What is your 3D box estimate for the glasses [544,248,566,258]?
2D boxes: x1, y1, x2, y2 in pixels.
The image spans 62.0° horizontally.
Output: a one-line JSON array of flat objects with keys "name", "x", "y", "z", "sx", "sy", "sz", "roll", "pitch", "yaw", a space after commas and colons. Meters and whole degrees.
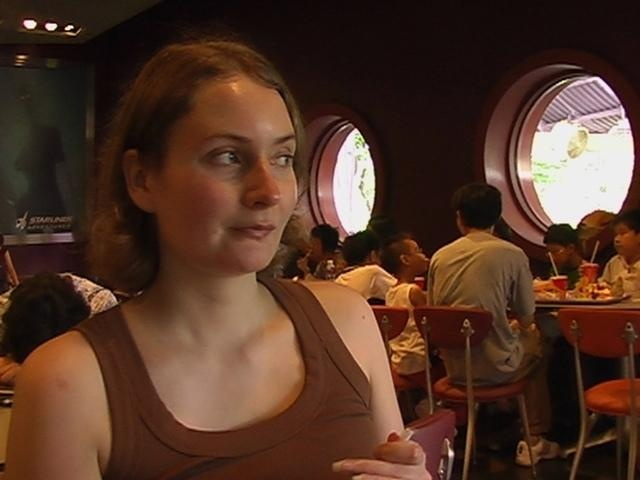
[{"name": "glasses", "x": 1.757, "y": 0.090, "z": 3.947, "sx": 0.101, "sy": 0.034, "sz": 0.097, "roll": 1, "pitch": -5, "yaw": -25}]

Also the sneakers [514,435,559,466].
[{"name": "sneakers", "x": 1.282, "y": 1.219, "z": 3.133, "sx": 0.296, "sy": 0.129, "sz": 0.126, "roll": 5, "pitch": -3, "yaw": -29}]
